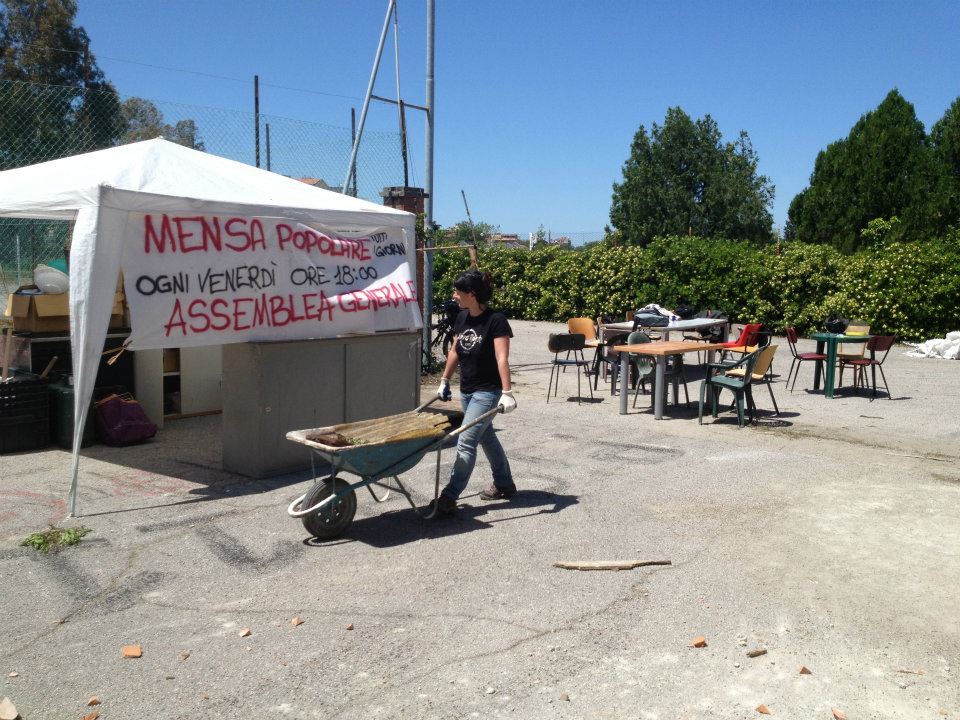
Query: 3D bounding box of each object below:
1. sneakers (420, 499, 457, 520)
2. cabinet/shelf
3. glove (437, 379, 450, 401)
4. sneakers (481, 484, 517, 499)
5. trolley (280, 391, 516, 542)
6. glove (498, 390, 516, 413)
[{"bbox_3d":[-0.369,1.368,7.008,0.411,0.198,0.149,4,-2,-35],"label":"sneakers"},{"bbox_3d":[-4.272,0.244,10.997,0.897,0.967,0.737,-2,6,-23],"label":"cabinet/shelf"},{"bbox_3d":[-0.349,0.294,7.441,0.112,0.185,0.079,-1,2,2],"label":"glove"},{"bbox_3d":[0.202,1.313,7.620,0.340,0.172,0.138,3,-1,-9],"label":"sneakers"},{"bbox_3d":[-0.728,0.885,7.006,1.026,1.223,2.166,4,5,43],"label":"trolley"},{"bbox_3d":[0.251,0.373,6.881,0.187,0.212,0.073,8,-5,-8],"label":"glove"}]
